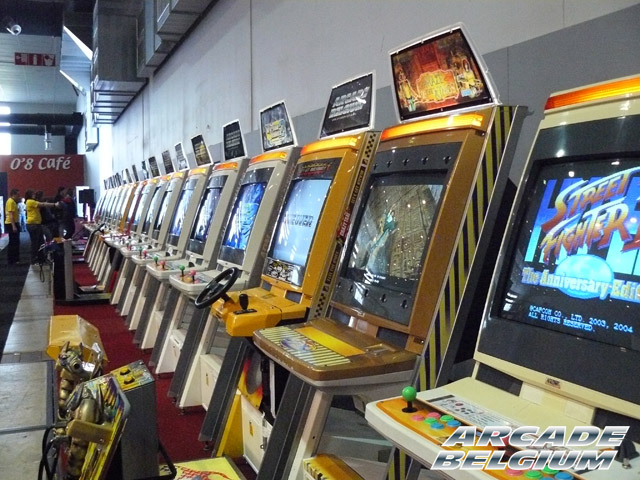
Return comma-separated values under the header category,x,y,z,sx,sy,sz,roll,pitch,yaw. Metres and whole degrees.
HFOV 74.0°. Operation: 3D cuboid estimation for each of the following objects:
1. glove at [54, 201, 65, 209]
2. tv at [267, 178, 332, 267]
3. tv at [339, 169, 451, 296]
category,x,y,z,sx,sy,sz,roll,pitch,yaw
glove,-8.717,-1.194,14.369,0.392,0.374,0.099,2,6,43
tv,-0.136,-0.122,2.570,0.251,0.472,0.526,-9,8,-27
tv,0.344,-0.022,1.902,0.052,0.646,0.572,22,-4,-25
